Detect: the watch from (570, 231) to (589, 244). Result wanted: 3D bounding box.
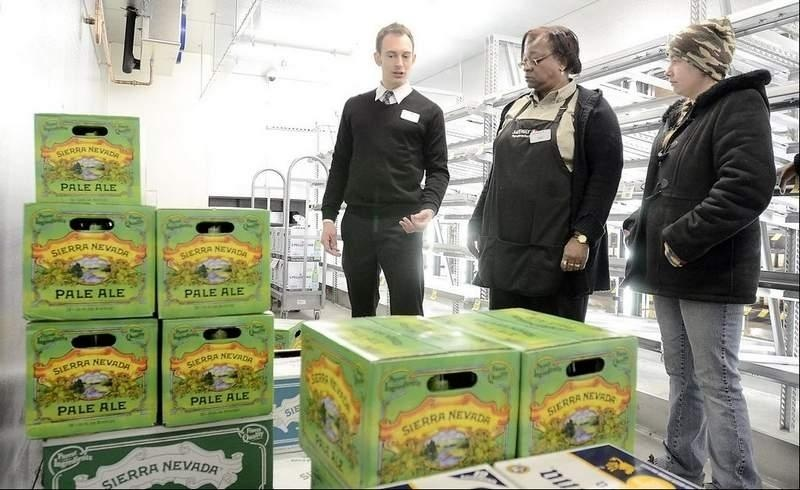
[{"bbox_3d":[0.861,-0.030,2.437,0.067,0.041,0.063,-16,-23,30],"label":"watch"}]

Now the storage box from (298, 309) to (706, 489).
[{"bbox_3d":[0.220,0.493,1.674,0.969,0.640,0.425,0,10,-21],"label":"storage box"}]

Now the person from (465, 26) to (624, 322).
[{"bbox_3d":[0.764,-0.361,2.604,0.656,1.433,0.398,10,12,22],"label":"person"}]

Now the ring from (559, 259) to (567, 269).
[{"bbox_3d":[0.795,0.095,2.469,0.021,0.051,0.026,0,12,-22],"label":"ring"}]

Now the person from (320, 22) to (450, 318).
[{"bbox_3d":[-0.089,-0.416,2.957,0.727,1.642,0.382,6,11,3],"label":"person"}]

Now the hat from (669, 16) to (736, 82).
[{"bbox_3d":[1.500,-0.967,2.603,0.355,0.315,0.274,-5,7,1],"label":"hat"}]

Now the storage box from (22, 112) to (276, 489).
[{"bbox_3d":[-1.070,0.438,2.202,1.045,1.183,0.396,2,12,-15],"label":"storage box"}]
